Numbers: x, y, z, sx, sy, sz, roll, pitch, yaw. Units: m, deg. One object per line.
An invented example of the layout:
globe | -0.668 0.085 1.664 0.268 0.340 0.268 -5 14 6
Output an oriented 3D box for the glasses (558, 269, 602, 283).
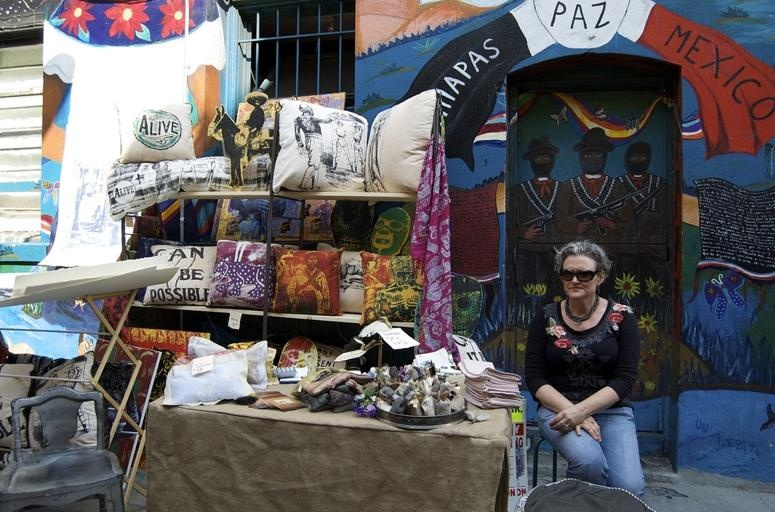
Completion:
glasses | 1.364 0.138 5.681 0.265 0.087 0.078 0 -4 12

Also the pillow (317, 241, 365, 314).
pillow | -0.402 0.201 6.668 0.513 0.581 0.183 2 -2 -5

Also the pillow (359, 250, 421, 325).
pillow | 0.019 0.275 6.535 0.514 0.570 0.201 -2 -13 6

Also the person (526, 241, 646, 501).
person | 1.387 0.776 5.674 0.806 1.770 0.309 0 -4 10

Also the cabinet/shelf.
cabinet/shelf | -0.801 0.168 6.358 2.887 3.087 1.018 0 -2 12

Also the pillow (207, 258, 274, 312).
pillow | -1.224 0.244 6.736 0.400 0.301 0.126 0 -9 9

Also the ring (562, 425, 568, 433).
ring | 1.244 1.208 5.582 0.037 0.046 0.042 6 12 32

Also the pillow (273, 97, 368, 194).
pillow | -0.568 -0.878 6.529 0.718 0.723 0.274 5 -17 -19

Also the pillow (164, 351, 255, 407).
pillow | -1.284 0.875 5.623 0.398 0.417 0.128 -6 -42 -9

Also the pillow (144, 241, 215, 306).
pillow | -1.748 0.164 6.704 0.443 0.396 0.174 2 -4 5

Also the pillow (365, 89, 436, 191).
pillow | 0.116 -0.918 6.451 0.295 0.755 0.724 18 -19 -37

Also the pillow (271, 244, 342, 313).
pillow | -0.684 0.209 6.649 0.489 0.507 0.190 1 -7 9

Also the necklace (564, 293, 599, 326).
necklace | 1.400 0.395 5.746 0.168 0.233 0.057 -3 -13 21
